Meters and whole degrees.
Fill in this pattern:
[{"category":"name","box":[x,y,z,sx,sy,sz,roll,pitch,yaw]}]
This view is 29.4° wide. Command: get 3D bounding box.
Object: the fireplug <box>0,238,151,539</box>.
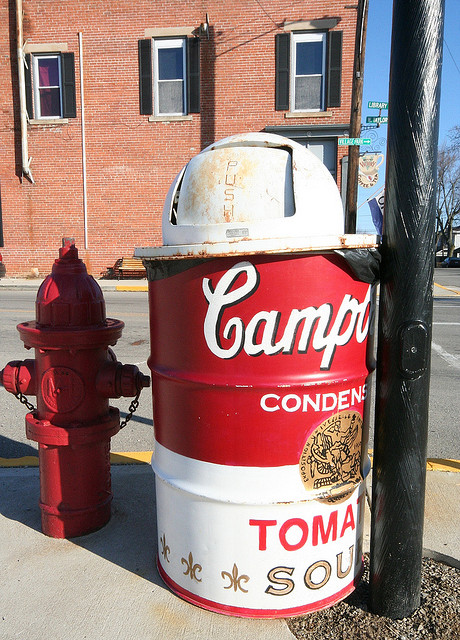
[{"category":"fireplug","box":[-0.830,0.377,4.643,0.716,1.533,0.318,-1,8,-9]}]
